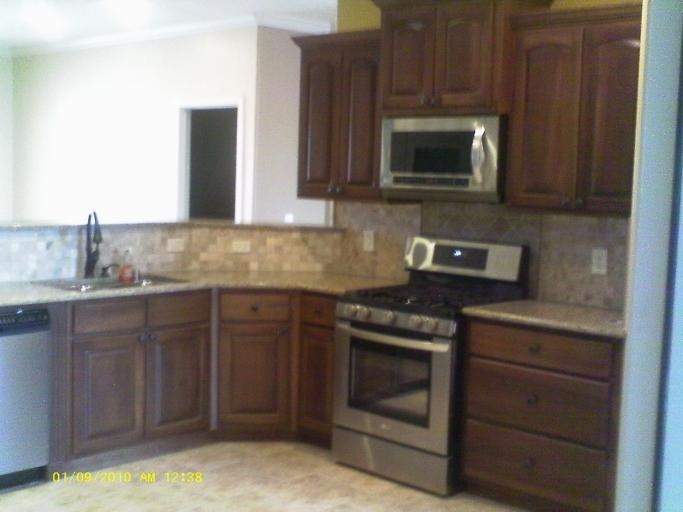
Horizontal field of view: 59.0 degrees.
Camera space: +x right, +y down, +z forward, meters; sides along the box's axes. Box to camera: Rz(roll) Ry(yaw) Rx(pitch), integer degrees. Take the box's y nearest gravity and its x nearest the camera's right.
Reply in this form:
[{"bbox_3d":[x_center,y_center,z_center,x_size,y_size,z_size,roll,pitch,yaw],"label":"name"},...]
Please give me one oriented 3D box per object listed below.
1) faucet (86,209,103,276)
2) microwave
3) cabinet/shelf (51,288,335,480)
[{"bbox_3d":[-1.638,-0.083,3.984,0.121,0.423,0.357,-2,7,-15],"label":"faucet"},{"bbox_3d":[0.630,-0.606,3.658,0.777,0.487,0.526,4,5,36],"label":"microwave"},{"bbox_3d":[-0.906,0.733,3.810,1.684,1.045,0.375,-2,7,-18],"label":"cabinet/shelf"}]
